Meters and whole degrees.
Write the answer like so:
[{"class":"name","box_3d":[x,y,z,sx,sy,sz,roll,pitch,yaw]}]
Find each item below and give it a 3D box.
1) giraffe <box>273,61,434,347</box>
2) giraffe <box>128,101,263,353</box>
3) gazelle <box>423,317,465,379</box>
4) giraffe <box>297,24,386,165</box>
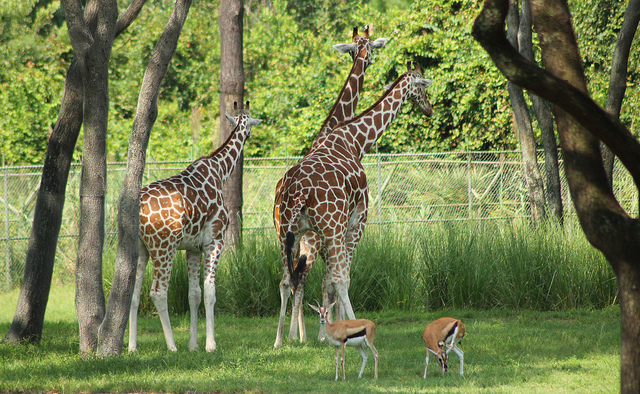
[{"class":"giraffe","box_3d":[0.974,-0.076,34.676,1.587,6.073,6.135,7,14,35]},{"class":"giraffe","box_3d":[-3.338,0.401,33.940,1.918,6.520,2.414,1,-1,24]},{"class":"gazelle","box_3d":[2.880,3.533,32.367,0.965,1.372,0.606,-2,-7,3]},{"class":"giraffe","box_3d":[0.674,-2.862,40.790,0.972,4.316,2.708,17,-10,19]}]
